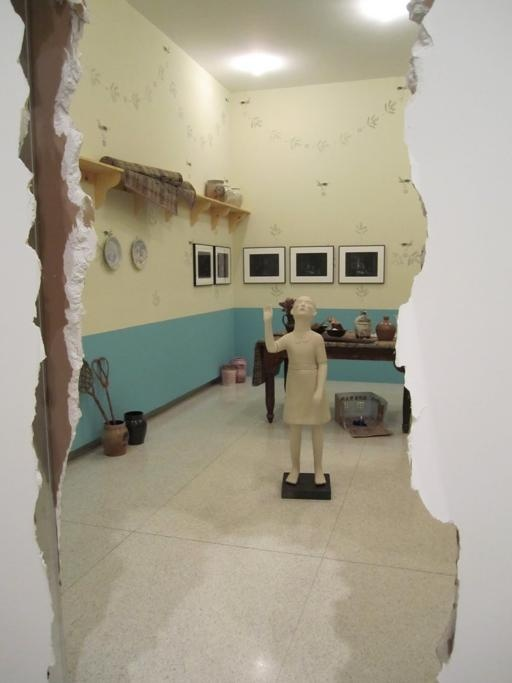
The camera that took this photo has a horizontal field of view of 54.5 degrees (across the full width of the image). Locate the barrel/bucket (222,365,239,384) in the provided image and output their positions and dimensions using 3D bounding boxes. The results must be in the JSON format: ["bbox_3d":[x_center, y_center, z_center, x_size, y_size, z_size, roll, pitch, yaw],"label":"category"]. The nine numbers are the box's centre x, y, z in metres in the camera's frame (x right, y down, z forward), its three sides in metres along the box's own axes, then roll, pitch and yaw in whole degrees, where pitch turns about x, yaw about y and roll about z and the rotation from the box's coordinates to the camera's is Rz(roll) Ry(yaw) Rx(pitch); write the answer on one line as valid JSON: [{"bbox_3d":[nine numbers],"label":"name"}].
[{"bbox_3d":[-0.318,0.407,6.059,0.183,0.222,0.219,-1,5,-2],"label":"barrel/bucket"}]

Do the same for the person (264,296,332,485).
[{"bbox_3d":[0.249,0.320,3.042,0.372,1.182,0.667,0,5,6],"label":"person"}]

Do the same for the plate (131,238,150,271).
[{"bbox_3d":[-0.973,-0.757,4.214,0.043,0.213,0.187,2,-25,20],"label":"plate"}]

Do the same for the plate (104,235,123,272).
[{"bbox_3d":[-1.091,-0.695,3.831,0.024,0.210,0.200,1,39,17],"label":"plate"}]
